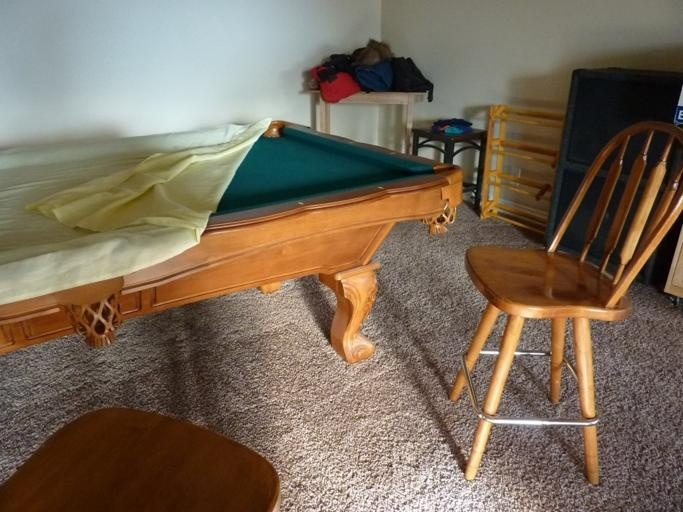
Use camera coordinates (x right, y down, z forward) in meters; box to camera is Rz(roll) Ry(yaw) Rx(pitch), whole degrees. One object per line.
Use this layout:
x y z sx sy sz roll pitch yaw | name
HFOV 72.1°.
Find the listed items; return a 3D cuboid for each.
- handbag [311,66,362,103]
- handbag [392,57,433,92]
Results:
-0.051 -1.451 4.114 0.462 0.263 0.239 4 27 5 | handbag
0.586 -1.526 4.073 0.299 0.263 0.320 -13 30 -28 | handbag
